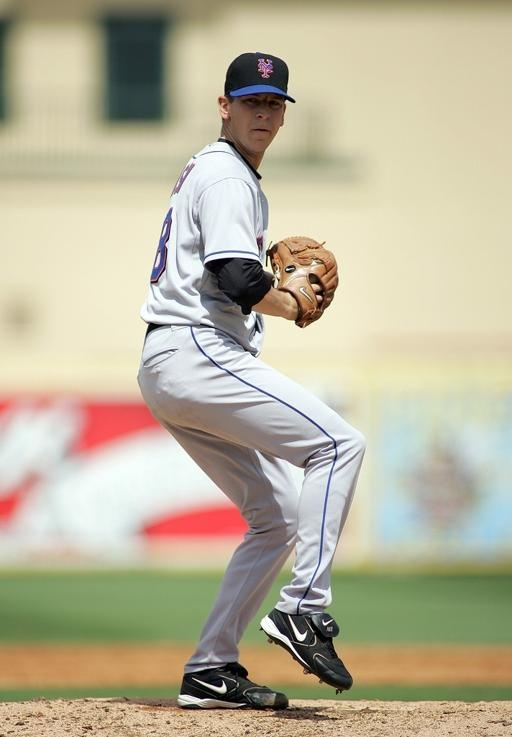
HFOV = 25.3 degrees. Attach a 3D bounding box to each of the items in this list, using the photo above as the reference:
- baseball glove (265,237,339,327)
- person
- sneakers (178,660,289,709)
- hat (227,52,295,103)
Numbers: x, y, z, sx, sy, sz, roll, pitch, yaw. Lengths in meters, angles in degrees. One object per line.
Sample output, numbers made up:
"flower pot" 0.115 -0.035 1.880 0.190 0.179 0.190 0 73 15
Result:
"baseball glove" 0.120 -0.273 3.717 0.243 0.278 0.145 -1 -19 -23
"person" -0.033 0.048 3.561 0.727 2.102 0.516 0 3 3
"sneakers" -0.094 1.037 3.743 0.385 0.149 0.140 -1 -8 6
"hat" 0.001 -0.946 3.663 0.248 0.144 0.291 -4 19 -15
